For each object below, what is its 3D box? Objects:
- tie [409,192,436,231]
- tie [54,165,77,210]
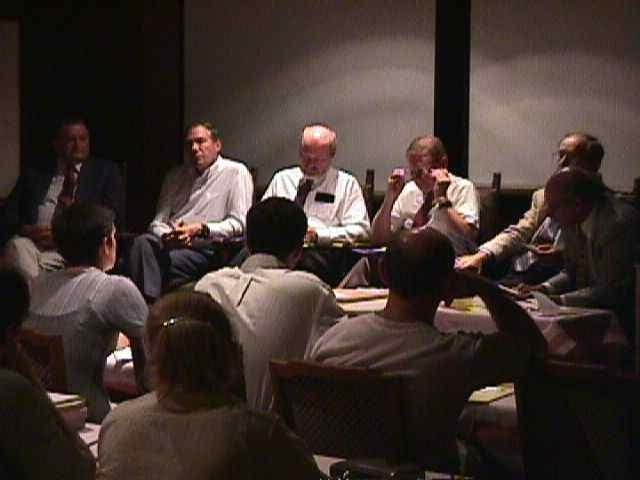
[{"bbox_3d":[0.519,-0.139,2.824,0.089,0.206,0.107,27,-16,-37],"label":"tie"},{"bbox_3d":[-1.141,-0.250,2.526,0.052,0.222,0.112,11,2,40],"label":"tie"}]
